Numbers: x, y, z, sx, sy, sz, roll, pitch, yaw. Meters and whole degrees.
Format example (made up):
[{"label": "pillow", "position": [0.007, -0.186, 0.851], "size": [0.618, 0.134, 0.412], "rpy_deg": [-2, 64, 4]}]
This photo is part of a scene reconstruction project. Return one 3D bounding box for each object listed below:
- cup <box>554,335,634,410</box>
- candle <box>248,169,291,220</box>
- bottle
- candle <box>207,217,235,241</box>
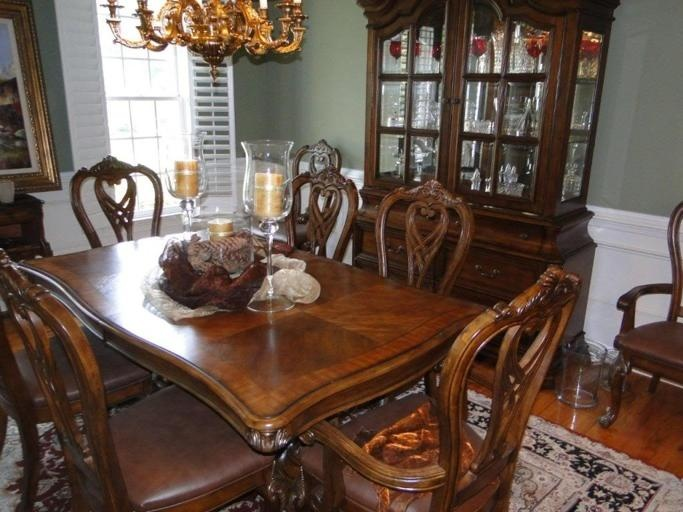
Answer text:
[{"label": "cup", "position": [1.459, 0.689, 3.083], "size": [0.432, 0.429, 0.289], "rpy_deg": [17, 19, 41]}, {"label": "candle", "position": [-0.253, -0.225, 1.886], "size": [0.159, 0.239, 0.146], "rpy_deg": [1, 7, 1]}, {"label": "bottle", "position": [1.110, -0.456, 3.038], "size": [0.659, 0.215, 0.267], "rpy_deg": [3, 15, 14]}, {"label": "candle", "position": [-0.480, -0.106, 2.009], "size": [0.081, 0.064, 0.082], "rpy_deg": [-5, 13, -27]}]
